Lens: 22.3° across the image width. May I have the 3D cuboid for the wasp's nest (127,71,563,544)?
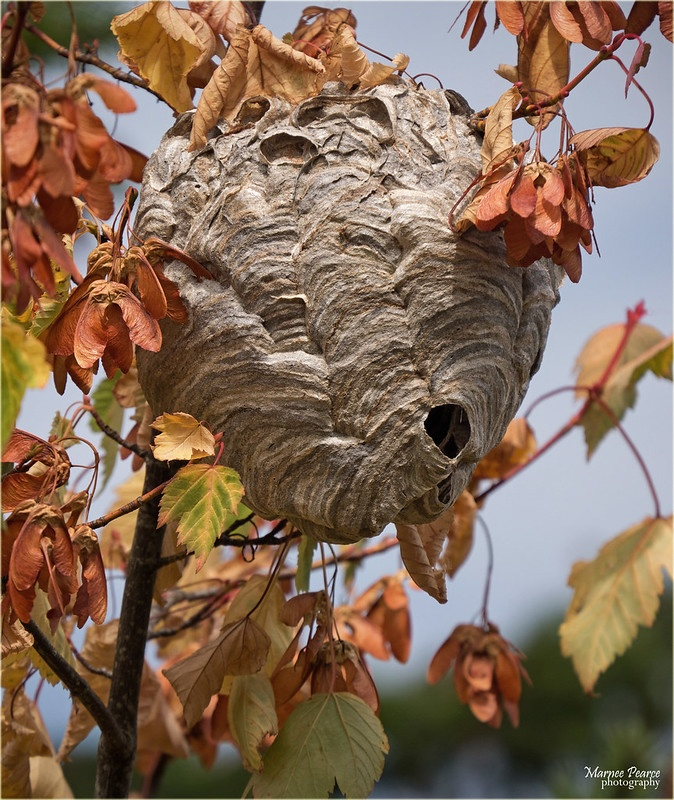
[{"bbox_3d":[0.008,-0.070,3.516,0.839,0.907,0.758,-14,-16,20],"label":"wasp's nest"}]
